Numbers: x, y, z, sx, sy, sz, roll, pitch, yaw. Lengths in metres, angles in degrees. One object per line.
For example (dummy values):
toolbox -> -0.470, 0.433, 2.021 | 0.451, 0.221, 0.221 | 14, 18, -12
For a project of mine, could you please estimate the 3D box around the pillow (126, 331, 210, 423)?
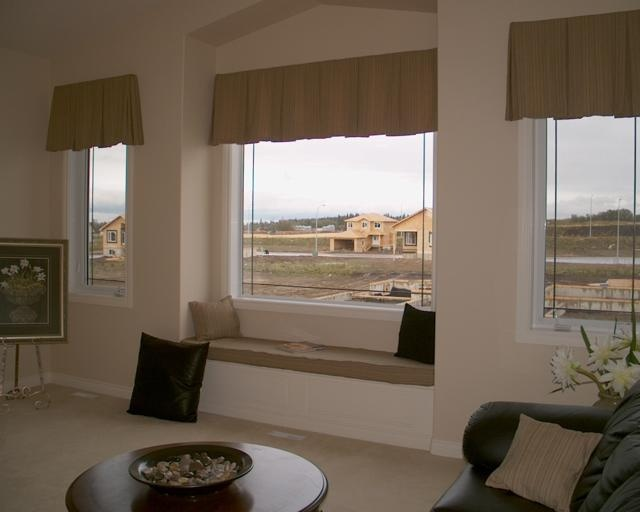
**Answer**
pillow -> -1.275, 1.038, 4.311 | 0.564, 0.587, 0.202 | 5, -8, 15

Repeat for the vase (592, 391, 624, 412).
vase -> 1.501, 0.724, 2.632 | 0.118, 0.125, 0.122 | -6, -7, 34

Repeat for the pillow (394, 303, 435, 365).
pillow -> 0.757, 0.633, 4.045 | 0.407, 0.429, 0.148 | 14, 0, -24
